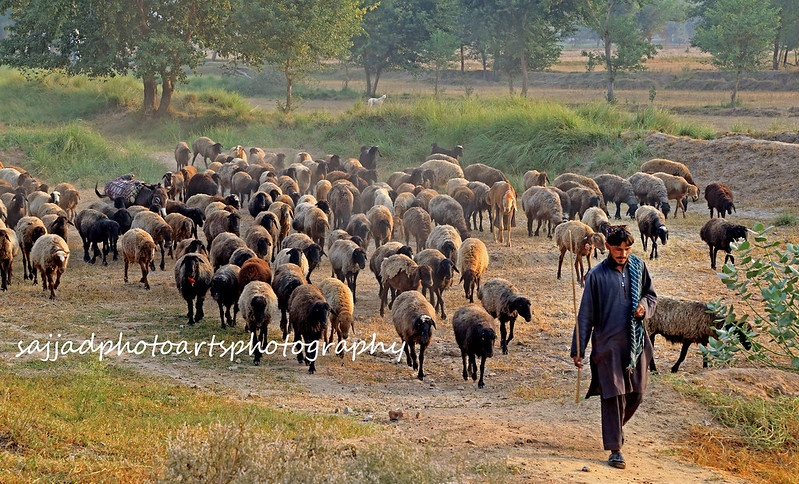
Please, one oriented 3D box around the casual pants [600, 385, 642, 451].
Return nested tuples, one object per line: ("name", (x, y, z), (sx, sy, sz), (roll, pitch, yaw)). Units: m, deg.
("casual pants", (8.281, 6.880, 42.736), (1.305, 2.293, 0.475), (0, 5, -20))
